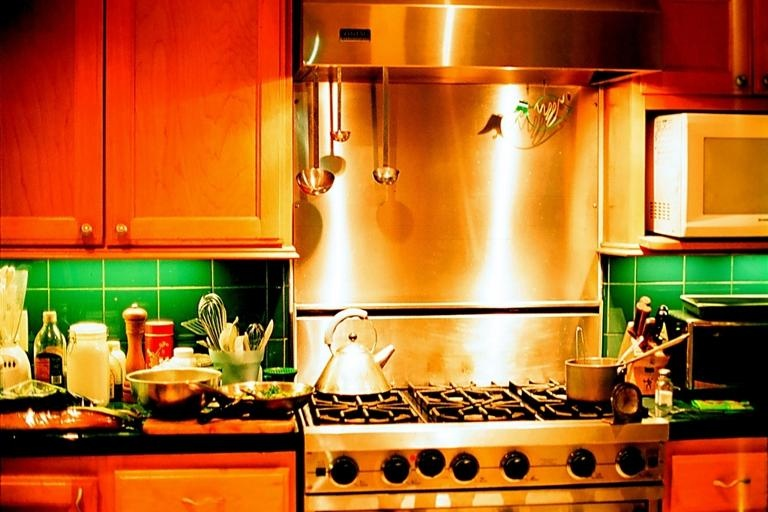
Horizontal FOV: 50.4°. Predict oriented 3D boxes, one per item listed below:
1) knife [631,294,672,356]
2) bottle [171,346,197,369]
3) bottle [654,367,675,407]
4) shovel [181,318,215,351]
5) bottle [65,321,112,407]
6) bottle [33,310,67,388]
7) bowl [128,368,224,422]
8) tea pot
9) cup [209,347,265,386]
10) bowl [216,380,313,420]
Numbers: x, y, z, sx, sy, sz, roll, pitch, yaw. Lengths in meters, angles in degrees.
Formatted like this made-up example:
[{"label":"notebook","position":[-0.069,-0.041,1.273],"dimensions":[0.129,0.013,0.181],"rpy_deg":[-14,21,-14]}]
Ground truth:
[{"label":"knife","position":[1.127,0.297,3.489],"dimensions":[0.179,0.240,0.214],"rpy_deg":[-3,-3,18]},{"label":"bottle","position":[-0.823,0.418,3.343],"dimensions":[0.080,0.081,0.079],"rpy_deg":[-3,6,-40]},{"label":"bottle","position":[1.181,0.546,3.433],"dimensions":[0.069,0.152,0.202],"rpy_deg":[-3,-3,21]},{"label":"shovel","position":[-0.795,0.332,3.505],"dimensions":[0.131,0.127,0.249],"rpy_deg":[-1,-3,-19]},{"label":"bottle","position":[-1.188,0.434,3.262],"dimensions":[0.157,0.320,0.089],"rpy_deg":[-1,-3,-18]},{"label":"bottle","position":[-1.398,0.388,3.400],"dimensions":[0.127,0.306,0.114],"rpy_deg":[-1,-3,-13]},{"label":"bowl","position":[-0.822,0.531,3.163],"dimensions":[0.360,0.178,0.255],"rpy_deg":[-2,-3,-6]},{"label":"tea pot","position":[-0.124,0.400,3.472],"dimensions":[0.331,0.331,0.324],"rpy_deg":[-1,-1,0]},{"label":"cup","position":[-0.606,0.440,3.367],"dimensions":[0.156,0.114,0.165],"rpy_deg":[-1,-3,0]},{"label":"bowl","position":[-0.458,0.561,3.211],"dimensions":[0.363,0.116,0.283],"rpy_deg":[-1,-3,-11]}]
